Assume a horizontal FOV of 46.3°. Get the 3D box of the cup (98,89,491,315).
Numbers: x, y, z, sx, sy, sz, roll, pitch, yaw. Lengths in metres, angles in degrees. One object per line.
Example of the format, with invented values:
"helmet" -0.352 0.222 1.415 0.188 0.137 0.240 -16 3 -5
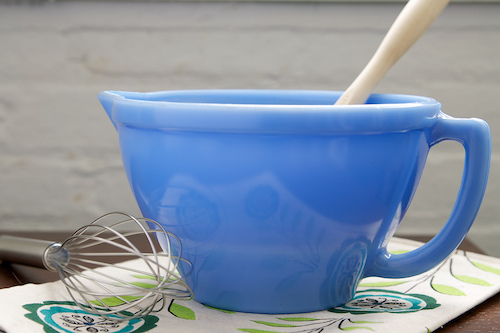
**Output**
"cup" 0.062 0.029 0.874 0.530 0.305 0.286 -3 40 -12
